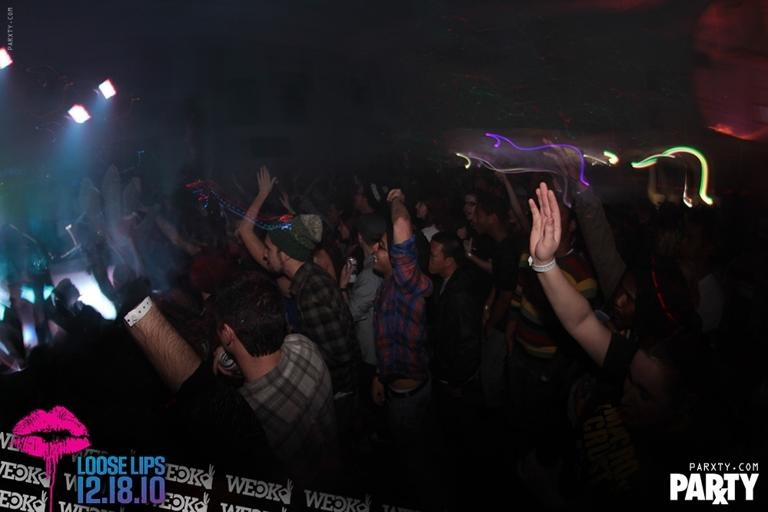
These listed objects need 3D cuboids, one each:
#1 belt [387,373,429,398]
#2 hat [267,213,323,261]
[{"bbox_3d":[0.195,1.204,4.684,0.237,0.090,0.231,-4,-2,-29],"label":"belt"},{"bbox_3d":[-0.788,-0.160,4.710,0.391,0.339,0.506,-19,-26,14],"label":"hat"}]
